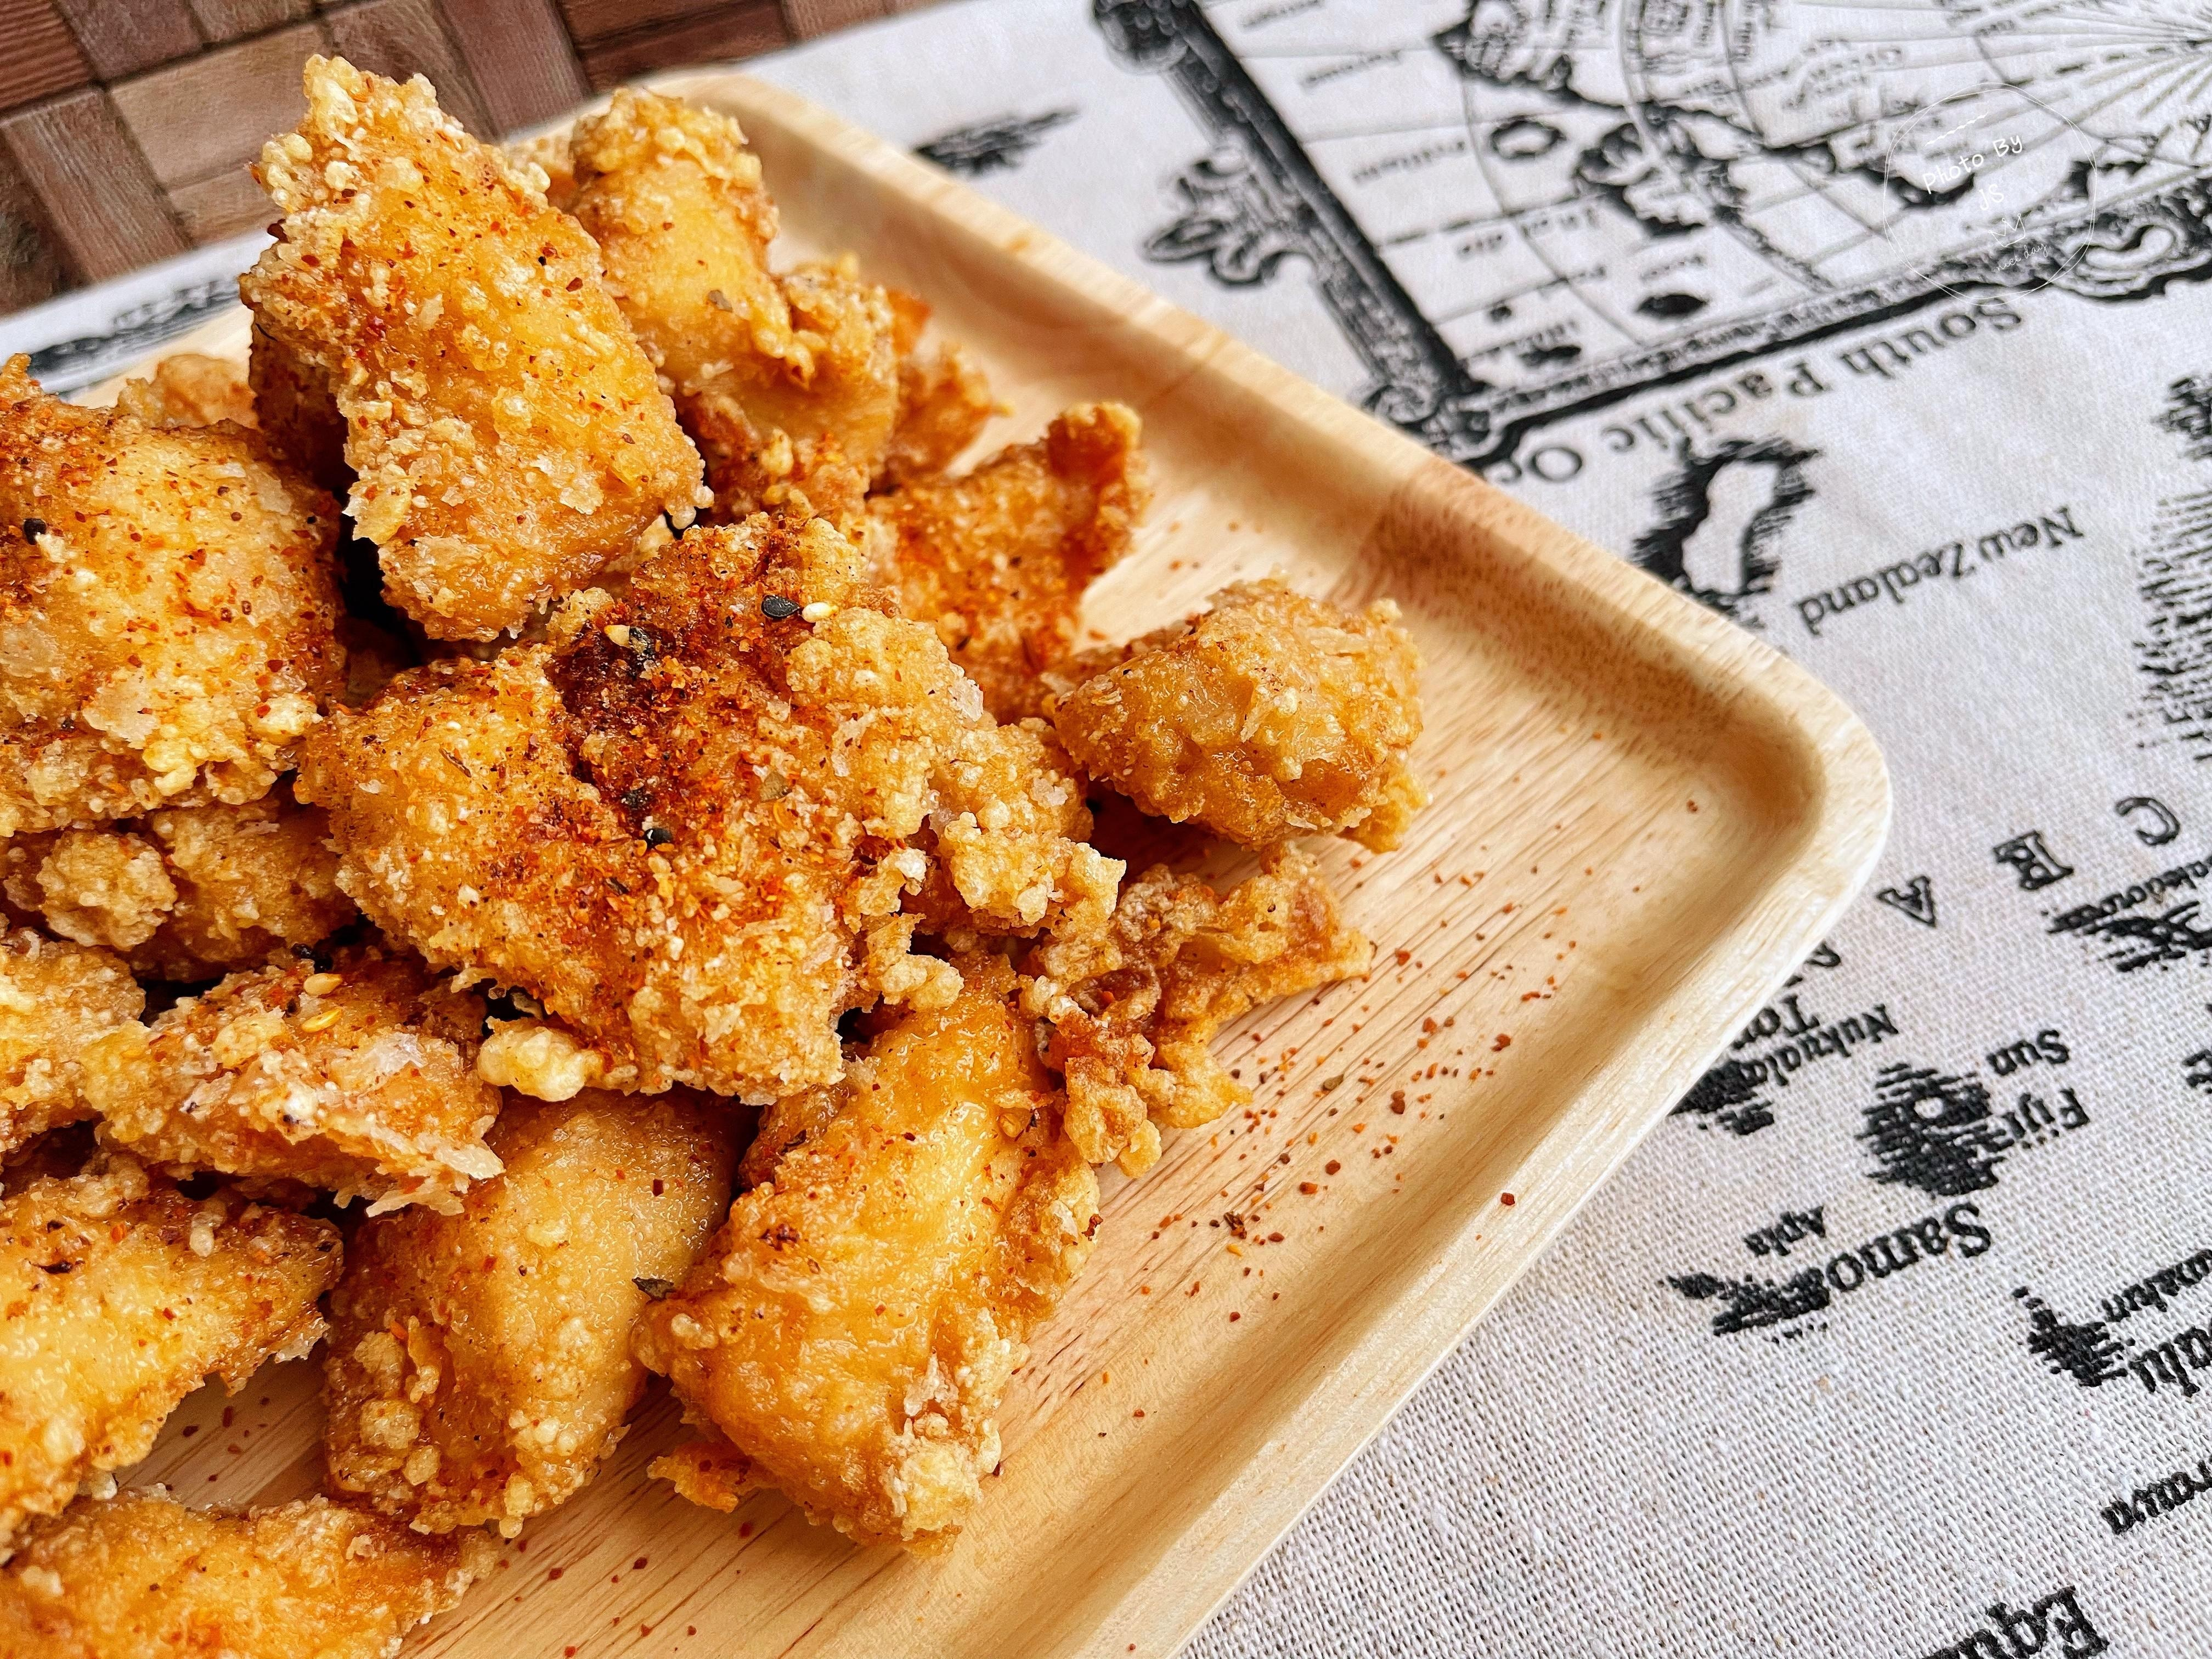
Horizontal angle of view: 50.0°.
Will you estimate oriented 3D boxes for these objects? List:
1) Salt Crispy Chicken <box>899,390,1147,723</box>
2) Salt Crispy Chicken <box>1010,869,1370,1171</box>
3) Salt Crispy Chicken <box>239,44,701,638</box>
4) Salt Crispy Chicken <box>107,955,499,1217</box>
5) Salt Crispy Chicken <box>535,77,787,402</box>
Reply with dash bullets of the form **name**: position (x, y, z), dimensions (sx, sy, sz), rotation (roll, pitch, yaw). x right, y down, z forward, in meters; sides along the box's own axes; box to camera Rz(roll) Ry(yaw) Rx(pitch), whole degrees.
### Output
- **Salt Crispy Chicken**: position (-0.094, -0.318, 2.920), dimensions (0.350, 0.104, 0.349), rotation (-40, 84, -19)
- **Salt Crispy Chicken**: position (0.087, 0.185, 2.539), dimensions (0.258, 0.085, 0.376), rotation (49, 59, -12)
- **Salt Crispy Chicken**: position (-0.686, -0.506, 2.532), dimensions (0.410, 0.648, 0.137), rotation (-32, 13, -17)
- **Salt Crispy Chicken**: position (-0.836, 0.279, 2.460), dimensions (0.399, 0.152, 0.270), rotation (-13, 49, -12)
- **Salt Crispy Chicken**: position (-0.476, -0.751, 2.877), dimensions (0.159, 0.341, 0.449), rotation (-17, 5, 18)
